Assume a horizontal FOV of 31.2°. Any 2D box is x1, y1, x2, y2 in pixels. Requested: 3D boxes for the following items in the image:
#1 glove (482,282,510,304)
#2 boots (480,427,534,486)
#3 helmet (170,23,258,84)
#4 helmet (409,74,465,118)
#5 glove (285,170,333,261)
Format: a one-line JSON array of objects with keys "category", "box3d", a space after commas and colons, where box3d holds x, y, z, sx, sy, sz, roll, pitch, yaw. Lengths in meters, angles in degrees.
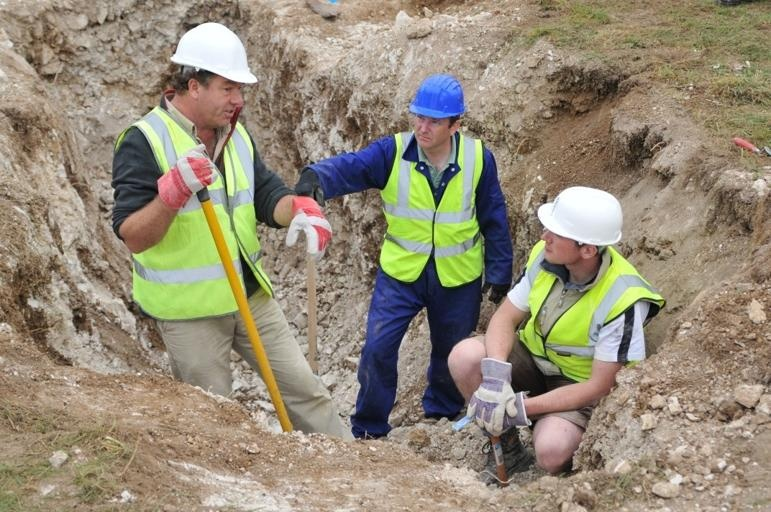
[{"category": "glove", "box3d": [1.013, 0.318, 12.647, 0.140, 0.109, 0.249, 26, -6, -10]}, {"category": "boots", "box3d": [1.041, 1.714, 11.740, 0.356, 0.351, 0.175, -38, 38, 1]}, {"category": "helmet", "box3d": [-1.400, -1.715, 11.517, 0.604, 0.356, 0.485, 22, 19, 13]}, {"category": "helmet", "box3d": [0.507, -1.455, 12.336, 0.483, 0.353, 0.638, 15, 13, 27]}, {"category": "glove", "box3d": [-0.622, -0.304, 11.812, 0.383, 0.207, 0.701, -20, 43, 1]}]
